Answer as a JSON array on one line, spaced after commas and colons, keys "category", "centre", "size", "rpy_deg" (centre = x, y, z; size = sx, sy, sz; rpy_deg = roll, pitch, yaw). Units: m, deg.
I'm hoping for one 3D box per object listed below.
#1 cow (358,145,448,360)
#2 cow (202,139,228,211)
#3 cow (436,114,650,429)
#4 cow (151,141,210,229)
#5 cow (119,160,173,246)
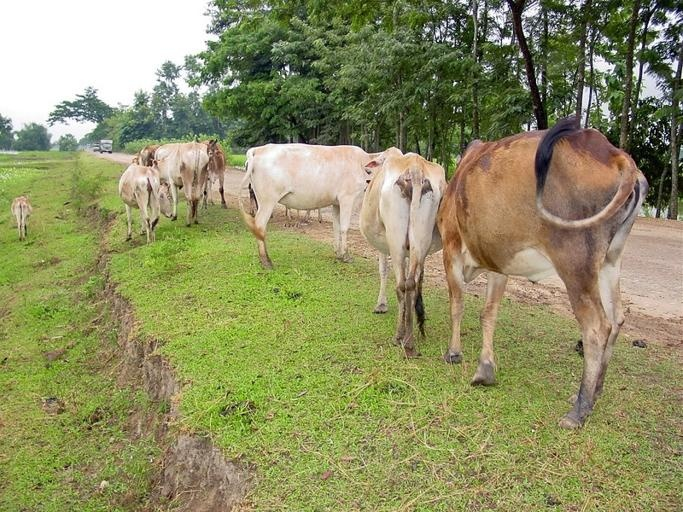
[{"category": "cow", "centre": [0.871, -0.127, 6.712], "size": [0.852, 2.421, 1.537], "rpy_deg": [-2, 12, -8]}, {"category": "cow", "centre": [-4.309, -2.939, 17.579], "size": [0.643, 2.002, 2.947], "rpy_deg": [2, 15, -10]}, {"category": "cow", "centre": [2.071, -0.048, 6.840], "size": [1.290, 3.137, 4.859], "rpy_deg": [-6, 9, -11]}, {"category": "cow", "centre": [-4.655, -2.043, 14.422], "size": [0.741, 1.998, 2.958], "rpy_deg": [-5, 6, -40]}, {"category": "cow", "centre": [-4.946, -1.403, 12.851], "size": [1.198, 1.791, 2.807], "rpy_deg": [-5, 13, -19]}]
